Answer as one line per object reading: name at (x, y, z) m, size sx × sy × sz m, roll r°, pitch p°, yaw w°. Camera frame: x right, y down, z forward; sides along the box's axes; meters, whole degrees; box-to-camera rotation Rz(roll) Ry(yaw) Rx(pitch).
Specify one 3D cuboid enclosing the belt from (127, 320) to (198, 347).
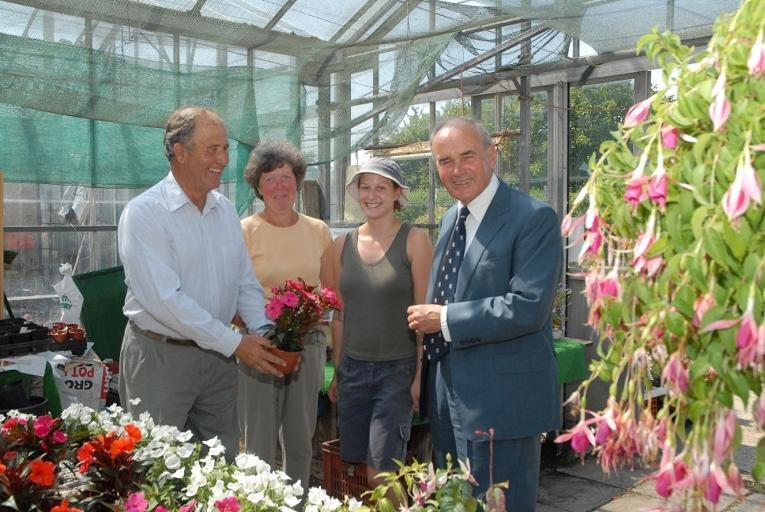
belt at (-1.003, 0.356, 3.068) m, size 0.333 × 0.114 × 0.115 m, roll 0°, pitch 1°, yaw 19°

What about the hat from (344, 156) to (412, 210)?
hat at (0.006, -0.467, 4.002) m, size 0.275 × 0.176 × 0.333 m, roll -7°, pitch -35°, yaw 17°

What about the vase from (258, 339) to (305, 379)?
vase at (-0.467, 0.485, 3.196) m, size 0.151 × 0.118 × 0.157 m, roll 4°, pitch -7°, yaw -20°
